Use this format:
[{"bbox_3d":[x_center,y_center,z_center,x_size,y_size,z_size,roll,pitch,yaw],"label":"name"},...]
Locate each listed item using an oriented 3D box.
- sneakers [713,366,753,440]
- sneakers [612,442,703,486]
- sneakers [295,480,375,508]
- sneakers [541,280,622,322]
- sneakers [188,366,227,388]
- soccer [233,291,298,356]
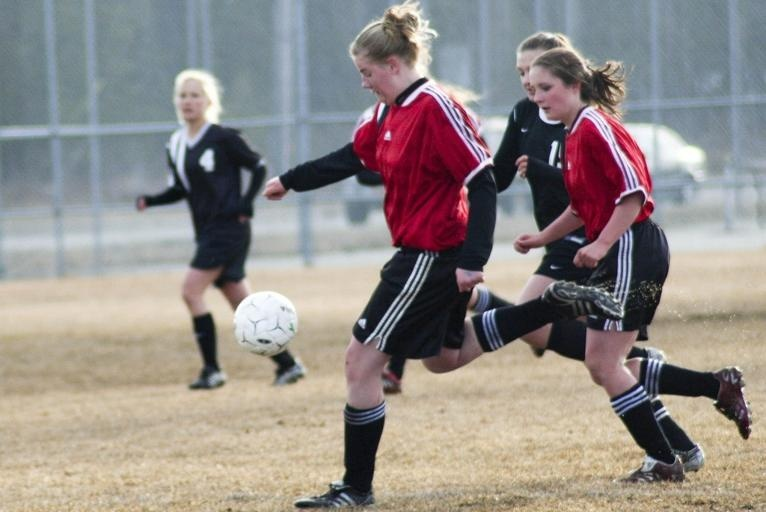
[{"bbox_3d":[2.682,1.111,11.674,0.277,0.615,0.225,-18,5,-7],"label":"sneakers"},{"bbox_3d":[2.100,1.632,11.488,0.678,0.297,0.256,-3,-8,1],"label":"sneakers"},{"bbox_3d":[-0.365,1.888,11.496,0.613,0.215,0.226,2,-12,-1],"label":"sneakers"},{"bbox_3d":[1.517,0.349,11.425,0.640,0.237,0.280,12,-11,11],"label":"sneakers"},{"bbox_3d":[-1.564,1.129,13.561,0.157,0.128,0.295,-6,-9,26],"label":"sneakers"},{"bbox_3d":[-0.990,0.577,12.367,0.396,0.401,0.394,-38,14,37],"label":"soccer"}]
